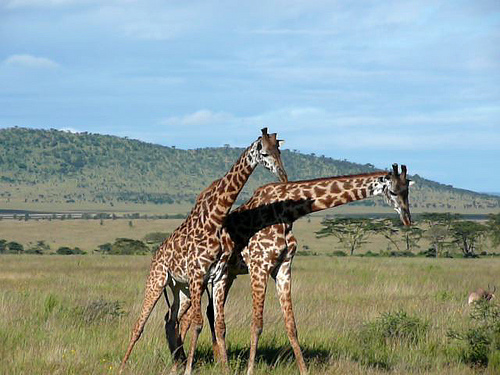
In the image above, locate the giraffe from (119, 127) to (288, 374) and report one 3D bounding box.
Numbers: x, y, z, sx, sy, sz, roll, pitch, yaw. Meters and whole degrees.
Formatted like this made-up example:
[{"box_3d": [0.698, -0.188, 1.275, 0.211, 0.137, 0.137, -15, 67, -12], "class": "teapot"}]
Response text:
[{"box_3d": [-1.199, 1.629, 21.315, 3.619, 5.979, 1.673, -2, -2, 35], "class": "giraffe"}]
